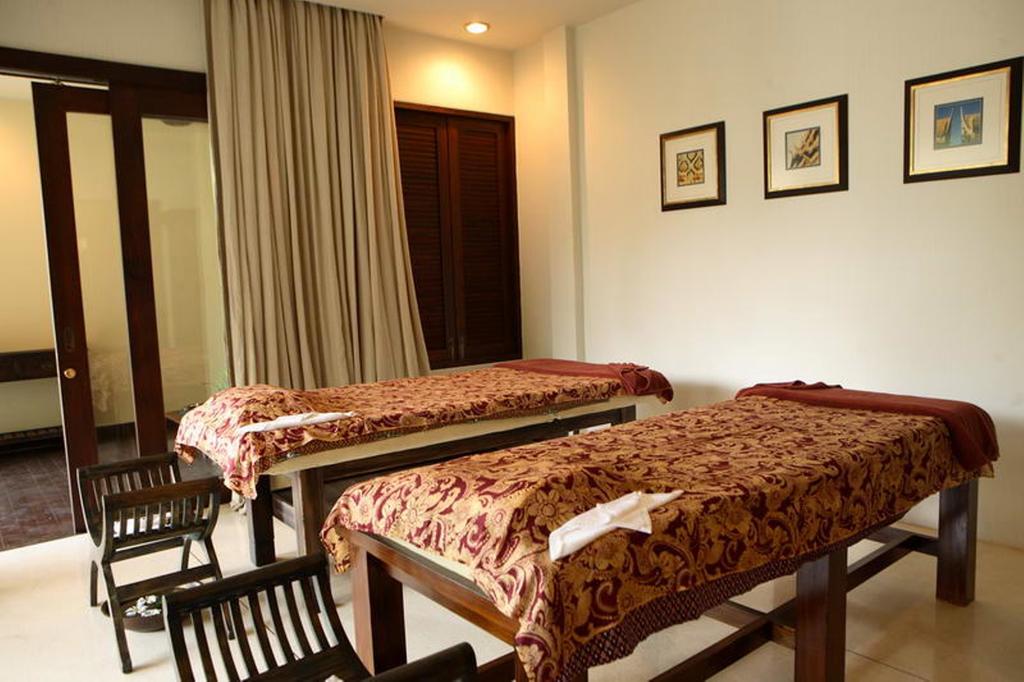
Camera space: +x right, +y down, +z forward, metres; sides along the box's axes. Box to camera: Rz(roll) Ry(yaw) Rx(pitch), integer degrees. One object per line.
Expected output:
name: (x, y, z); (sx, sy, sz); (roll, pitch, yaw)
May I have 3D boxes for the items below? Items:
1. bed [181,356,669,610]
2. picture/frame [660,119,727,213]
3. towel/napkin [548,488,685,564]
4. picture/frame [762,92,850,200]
bed: (-0.672, 0.402, 3.913); (2.101, 0.755, 1.158); (-8, 12, -39)
picture/frame: (1.277, -1.227, 4.743); (0.676, 0.708, 0.080); (3, 7, 43)
towel/napkin: (0.315, 0.584, 2.244); (0.331, 0.057, 0.178); (-13, 17, -32)
picture/frame: (1.845, -1.220, 4.247); (0.056, 0.758, 0.704); (-5, 6, -43)
